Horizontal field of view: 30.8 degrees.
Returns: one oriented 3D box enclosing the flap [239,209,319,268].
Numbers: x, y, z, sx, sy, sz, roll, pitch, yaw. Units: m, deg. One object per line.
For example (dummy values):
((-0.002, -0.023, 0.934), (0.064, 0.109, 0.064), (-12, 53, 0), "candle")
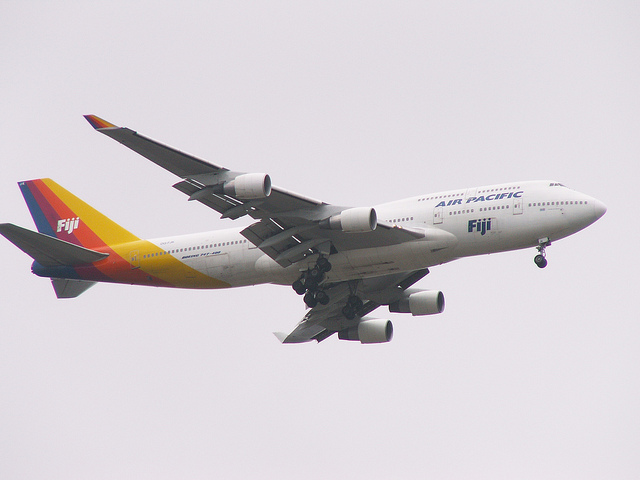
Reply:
((-1.648, 0.034, 41.932), (2.833, 0.640, 1.448), (33, -48, -28), "flap")
